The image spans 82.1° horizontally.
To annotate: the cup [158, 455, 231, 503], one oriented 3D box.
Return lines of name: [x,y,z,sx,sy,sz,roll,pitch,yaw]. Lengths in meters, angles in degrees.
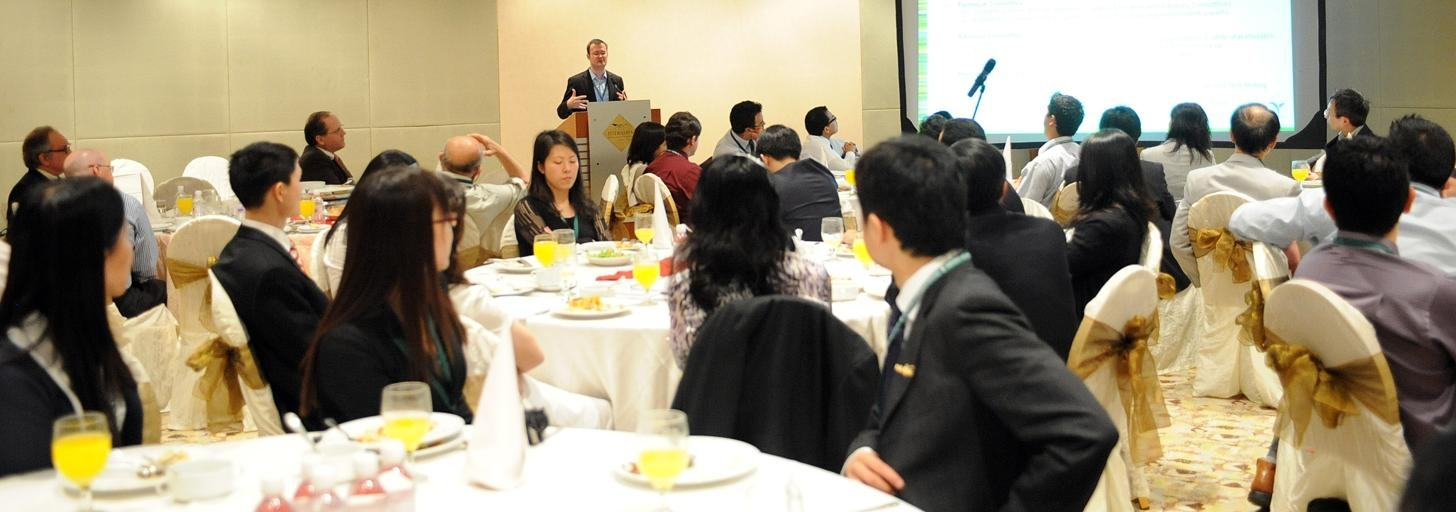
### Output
cup: [-4.078,1.724,6.478,0.404,0.135,0.420,-1,-4,0]

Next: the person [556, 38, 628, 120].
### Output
person: [-2.012,-2.668,12.298,0.780,1.140,1.401,-1,11,5]
